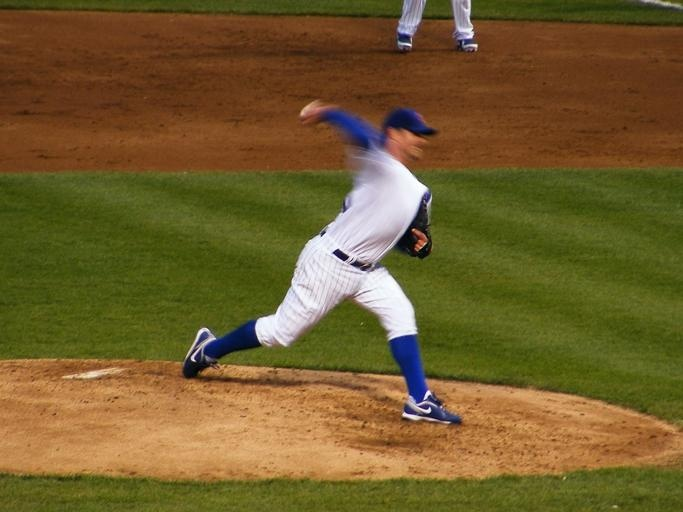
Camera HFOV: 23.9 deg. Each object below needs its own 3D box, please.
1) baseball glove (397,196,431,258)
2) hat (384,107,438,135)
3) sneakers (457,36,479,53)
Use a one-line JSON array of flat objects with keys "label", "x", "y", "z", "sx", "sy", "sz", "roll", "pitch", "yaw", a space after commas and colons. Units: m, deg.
[{"label": "baseball glove", "x": 0.722, "y": -0.305, "z": 16.470, "sx": 0.421, "sy": 0.562, "sz": 0.269, "roll": -15, "pitch": 23, "yaw": -27}, {"label": "hat", "x": 0.710, "y": -1.358, "z": 16.273, "sx": 0.400, "sy": 0.159, "sz": 0.265, "roll": 7, "pitch": 17, "yaw": -2}, {"label": "sneakers", "x": 1.876, "y": -3.110, "z": 23.788, "sx": 0.144, "sy": 0.186, "sz": 0.400, "roll": 4, "pitch": 7, "yaw": -14}]
